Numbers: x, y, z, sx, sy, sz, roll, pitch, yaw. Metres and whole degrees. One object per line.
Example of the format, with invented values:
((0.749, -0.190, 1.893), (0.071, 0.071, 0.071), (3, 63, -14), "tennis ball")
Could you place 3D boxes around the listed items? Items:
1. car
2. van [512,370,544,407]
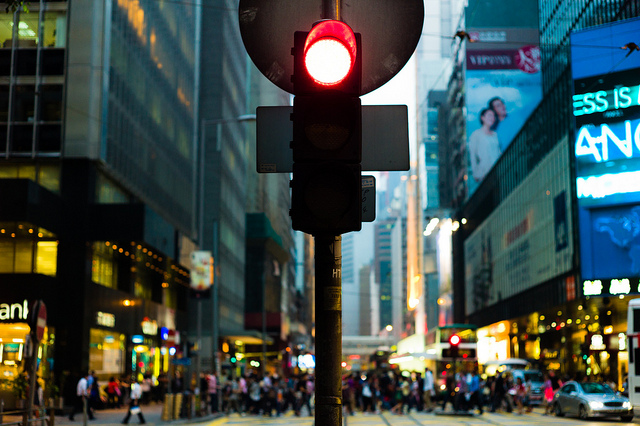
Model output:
((17.010, 11.641, 65.274), (3.440, 2.389, 5.100), (-4, -10, 10), "car")
((15.519, 12.782, 78.749), (1.784, 2.115, 3.854), (2, 2, -9), "van")
